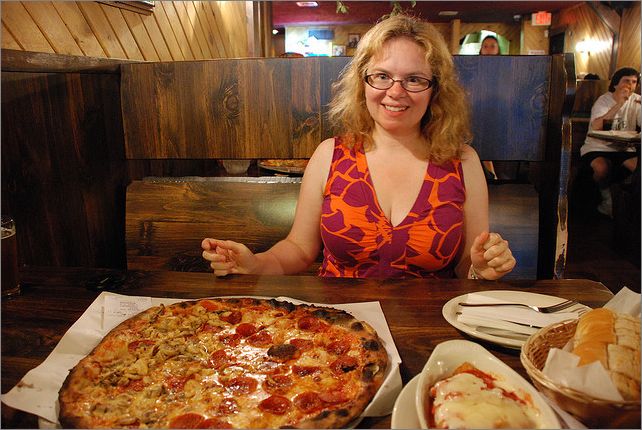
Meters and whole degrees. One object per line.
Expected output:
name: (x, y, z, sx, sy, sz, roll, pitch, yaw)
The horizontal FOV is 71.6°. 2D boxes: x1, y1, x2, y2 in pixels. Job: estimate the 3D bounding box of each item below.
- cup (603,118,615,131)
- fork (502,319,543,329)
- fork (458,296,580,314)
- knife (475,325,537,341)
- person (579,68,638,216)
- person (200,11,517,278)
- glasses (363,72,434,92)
cup: (3.682, -1.164, 5.690, 0.112, 0.120, 0.110, -3, 18, 1)
fork: (0.631, 0.341, 1.390, 0.108, 0.014, 0.015, 4, 19, 19)
fork: (0.653, 0.301, 1.481, 0.404, 0.040, 0.041, 0, 14, 10)
knife: (0.572, 0.360, 1.365, 0.082, 0.014, 0.086, 2, -1, -39)
person: (3.792, -0.987, 5.778, 0.665, 1.771, 1.455, 8, 21, 28)
person: (0.291, -0.303, 2.168, 1.046, 1.266, 0.542, -2, 19, 2)
glasses: (0.361, -0.614, 2.055, 0.314, 0.093, 0.101, -1, 18, 4)
